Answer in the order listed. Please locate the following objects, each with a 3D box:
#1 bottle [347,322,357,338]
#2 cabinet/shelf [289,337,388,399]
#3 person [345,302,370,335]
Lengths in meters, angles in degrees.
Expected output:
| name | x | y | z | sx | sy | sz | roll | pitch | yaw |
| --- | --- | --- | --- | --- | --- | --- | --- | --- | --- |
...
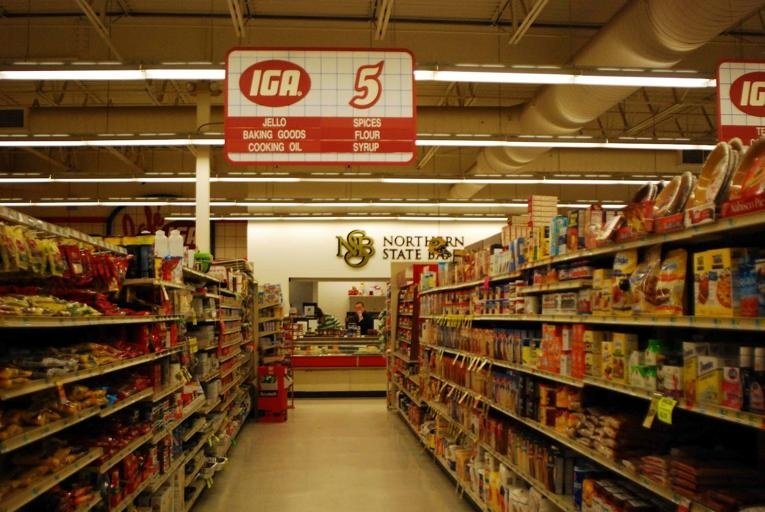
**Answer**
| name | x | y | z | sx | sy | sz | roll | pitch | yaw |
| --- | --- | --- | --- | --- | --- | --- | --- | --- | --- |
| bottle | -0.769 | 1.848 | 15.031 | 0.216 | 0.318 | 0.225 | 0 | 6 | 0 |
| cabinet/shelf | -1.045 | 2.641 | 14.456 | 2.163 | 1.384 | 1.317 | 0 | -5 | -3 |
| person | -0.637 | 1.681 | 16.164 | 0.469 | 0.537 | 1.032 | -6 | 27 | 1 |
